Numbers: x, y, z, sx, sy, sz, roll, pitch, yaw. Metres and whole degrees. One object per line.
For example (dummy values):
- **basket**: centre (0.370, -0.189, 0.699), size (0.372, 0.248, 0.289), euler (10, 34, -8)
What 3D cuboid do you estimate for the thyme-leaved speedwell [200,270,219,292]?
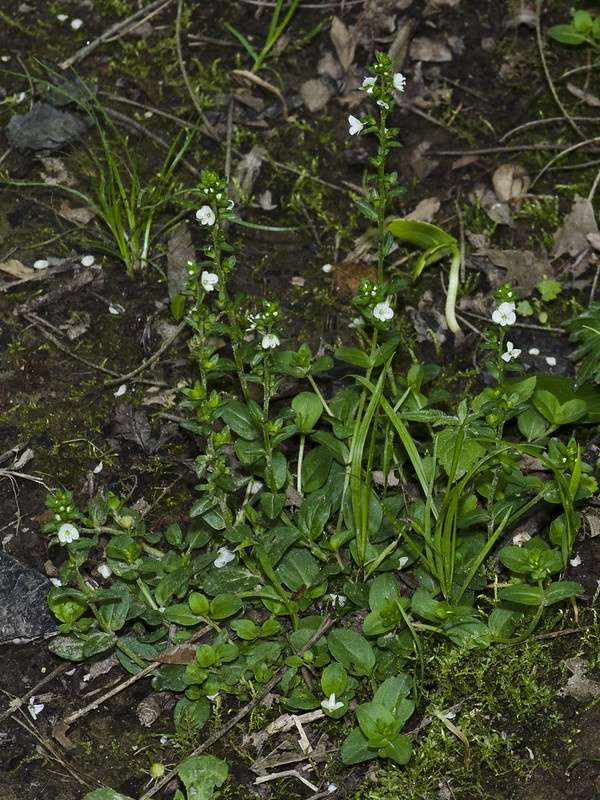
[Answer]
- **thyme-leaved speedwell**: centre (-0.328, -0.423, 2.846), size (0.082, 0.073, 0.044), euler (32, 58, 20)

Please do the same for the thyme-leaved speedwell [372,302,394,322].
- **thyme-leaved speedwell**: centre (0.315, -0.324, 3.020), size (0.079, 0.052, 0.077), euler (8, 87, 15)

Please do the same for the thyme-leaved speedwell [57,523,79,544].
- **thyme-leaved speedwell**: centre (-0.804, 0.462, 2.771), size (0.065, 0.064, 0.054), euler (5, 53, 1)

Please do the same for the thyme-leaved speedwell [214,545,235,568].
- **thyme-leaved speedwell**: centre (-0.292, 0.619, 3.142), size (0.085, 0.057, 0.089), euler (11, 52, 5)

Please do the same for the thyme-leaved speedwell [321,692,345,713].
- **thyme-leaved speedwell**: centre (0.109, 1.021, 2.686), size (0.067, 0.070, 0.056), euler (-30, 60, -23)
